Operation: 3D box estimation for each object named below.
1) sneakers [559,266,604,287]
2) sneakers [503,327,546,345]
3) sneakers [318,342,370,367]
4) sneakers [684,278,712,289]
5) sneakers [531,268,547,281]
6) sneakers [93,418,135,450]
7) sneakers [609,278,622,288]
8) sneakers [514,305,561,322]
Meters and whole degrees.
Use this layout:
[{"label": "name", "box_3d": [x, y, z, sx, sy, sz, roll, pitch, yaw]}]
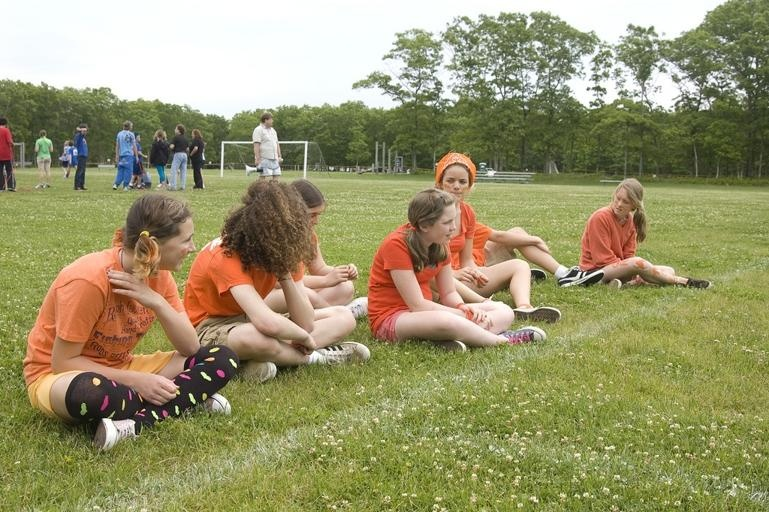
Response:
[{"label": "sneakers", "box_3d": [2.668, 0.339, 9.933, 0.653, 0.260, 0.247, -8, -14, 4]}, {"label": "sneakers", "box_3d": [1.458, 0.830, 7.476, 0.484, 0.163, 0.183, -5, 19, 4]}, {"label": "sneakers", "box_3d": [-0.387, 0.956, 6.960, 0.553, 0.183, 0.207, -2, -11, -18]}, {"label": "sneakers", "box_3d": [4.275, 0.387, 9.807, 0.318, 0.137, 0.138, 2, 17, 36]}, {"label": "sneakers", "box_3d": [2.186, 0.285, 10.188, 0.276, 0.098, 0.107, 14, 4, 37]}, {"label": "sneakers", "box_3d": [-2.088, 1.386, 5.576, 0.156, 0.163, 0.310, 19, 1, 1]}, {"label": "sneakers", "box_3d": [3.195, 0.389, 9.952, 0.133, 0.049, 0.128, 14, 0, -5]}, {"label": "sneakers", "box_3d": [1.747, 0.676, 8.217, 0.553, 0.202, 0.199, 0, -8, 10]}]
